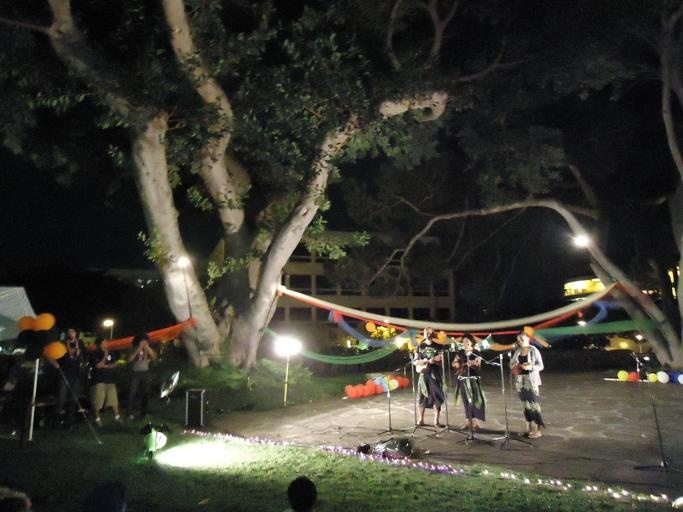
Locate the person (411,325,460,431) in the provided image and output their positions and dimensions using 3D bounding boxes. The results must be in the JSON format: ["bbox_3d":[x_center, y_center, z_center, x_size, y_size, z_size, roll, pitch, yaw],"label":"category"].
[{"bbox_3d":[2.102,2.844,13.298,0.901,2.299,0.683,1,11,40],"label":"person"}]

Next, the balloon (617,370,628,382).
[{"bbox_3d":[10.586,4.493,21.033,0.352,0.408,0.348,-6,0,-22],"label":"balloon"}]

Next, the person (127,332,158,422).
[{"bbox_3d":[-5.061,3.031,14.160,0.807,2.367,0.818,-3,4,-35],"label":"person"}]

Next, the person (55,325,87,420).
[{"bbox_3d":[-6.480,2.847,13.331,0.794,2.726,0.645,2,-3,-32],"label":"person"}]

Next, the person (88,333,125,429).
[{"bbox_3d":[-5.793,3.042,13.753,0.659,2.017,0.597,2,-17,-32],"label":"person"}]

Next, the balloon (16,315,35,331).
[{"bbox_3d":[-6.981,1.487,12.451,0.392,0.341,0.444,-1,-19,-13],"label":"balloon"}]

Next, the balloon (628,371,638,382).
[{"bbox_3d":[10.782,4.479,20.755,0.326,0.379,0.329,-8,-16,-5],"label":"balloon"}]

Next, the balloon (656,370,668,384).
[{"bbox_3d":[11.406,4.330,19.973,0.435,0.362,0.358,29,-18,-26],"label":"balloon"}]

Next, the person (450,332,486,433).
[{"bbox_3d":[2.826,2.879,12.677,0.519,1.964,0.737,1,-7,-45],"label":"person"}]

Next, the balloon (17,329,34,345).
[{"bbox_3d":[-6.816,1.772,12.122,0.297,0.243,0.339,1,14,-6],"label":"balloon"}]

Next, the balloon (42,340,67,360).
[{"bbox_3d":[-6.413,2.120,12.528,0.456,0.352,0.365,-25,18,46],"label":"balloon"}]

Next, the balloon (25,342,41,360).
[{"bbox_3d":[-6.557,2.046,11.926,0.312,0.331,0.313,-12,-14,41],"label":"balloon"}]

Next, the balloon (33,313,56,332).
[{"bbox_3d":[-6.568,1.443,12.404,0.382,0.457,0.376,-18,10,-20],"label":"balloon"}]
